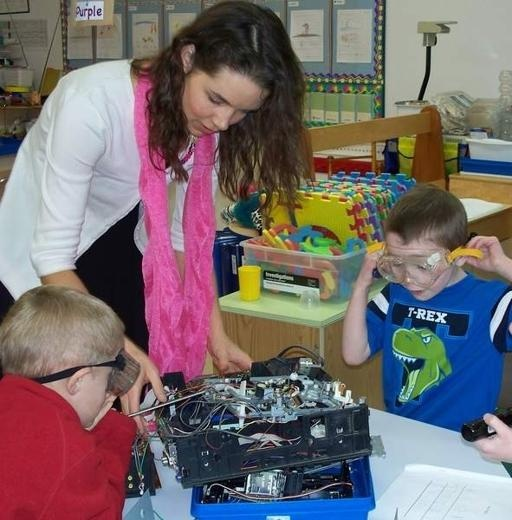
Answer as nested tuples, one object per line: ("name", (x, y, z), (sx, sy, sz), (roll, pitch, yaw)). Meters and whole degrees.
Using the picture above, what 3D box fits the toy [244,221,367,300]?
("toy", (0.174, -0.053, 1.885), (0.321, 0.160, 0.272), (11, 19, 29))

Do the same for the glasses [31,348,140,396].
("glasses", (-0.262, 0.188, 0.900), (0.099, 0.045, 0.080), (-6, 6, -27))

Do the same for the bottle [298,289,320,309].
("bottle", (0.189, 0.134, 1.839), (0.051, 0.044, 0.055), (-1, 13, 0))

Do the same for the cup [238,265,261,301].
("cup", (-0.012, 0.076, 1.924), (0.091, 0.132, 0.104), (0, 10, 2))

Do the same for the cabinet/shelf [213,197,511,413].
("cabinet/shelf", (0.295, 0.129, 1.518), (0.577, 0.610, 0.203), (-16, 30, -41))
